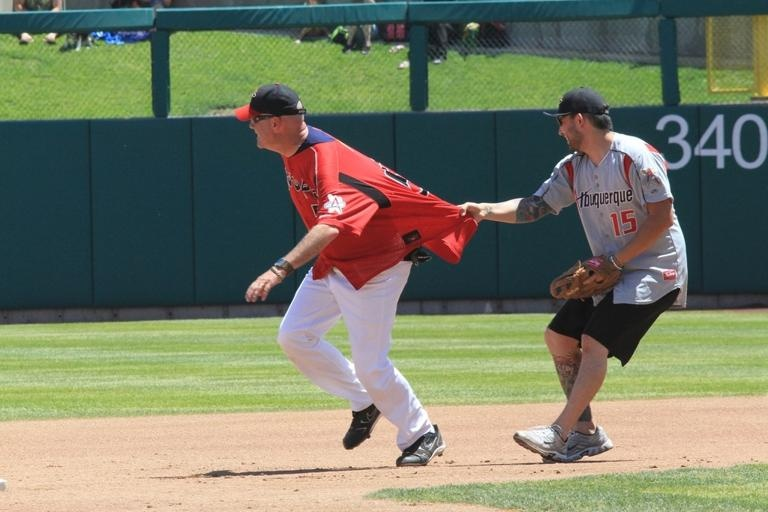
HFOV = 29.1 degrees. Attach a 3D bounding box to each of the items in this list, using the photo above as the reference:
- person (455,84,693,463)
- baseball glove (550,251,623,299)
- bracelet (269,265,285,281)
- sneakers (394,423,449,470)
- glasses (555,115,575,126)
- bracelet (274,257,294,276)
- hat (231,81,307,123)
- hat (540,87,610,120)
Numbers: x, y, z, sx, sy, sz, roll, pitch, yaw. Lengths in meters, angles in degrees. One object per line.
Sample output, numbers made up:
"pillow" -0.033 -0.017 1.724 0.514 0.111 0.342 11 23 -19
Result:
"person" 2.208 0.168 15.055 1.688 3.665 1.178 -1 13 3
"baseball glove" 2.060 0.256 15.053 0.700 0.353 0.270 -27 -27 10
"bracelet" -1.064 0.166 14.541 0.156 0.043 0.160 33 -19 2
"sneakers" 0.386 1.964 14.983 0.666 0.264 0.234 -33 29 -24
"glasses" 1.828 -1.370 15.012 0.148 0.069 0.115 -23 13 -21
"bracelet" -1.013 0.108 14.704 0.188 0.119 0.185 41 -10 -24
"hat" -1.154 -1.563 15.049 0.614 0.300 0.376 6 18 5
"hat" 2.002 -1.545 15.041 0.480 0.206 0.288 5 11 17
